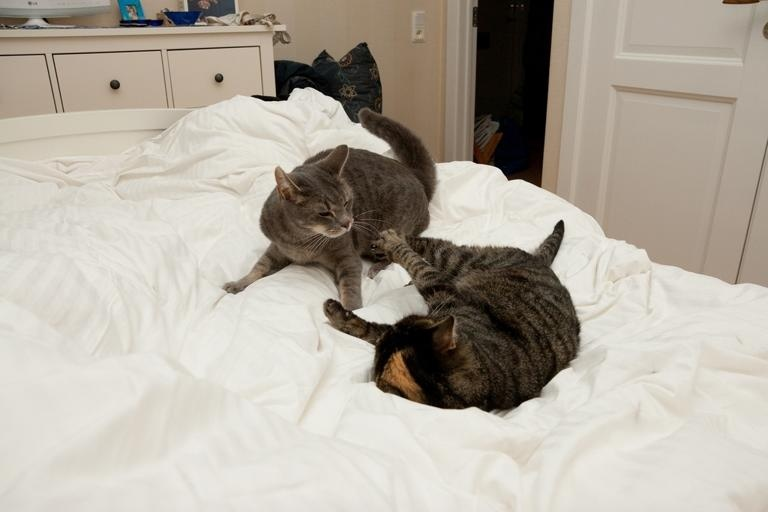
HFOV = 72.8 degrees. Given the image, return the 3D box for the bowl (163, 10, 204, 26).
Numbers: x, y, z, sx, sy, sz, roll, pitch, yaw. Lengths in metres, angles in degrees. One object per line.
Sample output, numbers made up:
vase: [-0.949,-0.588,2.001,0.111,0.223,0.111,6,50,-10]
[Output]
bowl: [-1.350,-1.599,3.506,0.162,0.061,0.150,-1,10,0]

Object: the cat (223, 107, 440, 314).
cat: [-0.136,-0.240,2.509,0.600,0.678,1.132,15,45,23]

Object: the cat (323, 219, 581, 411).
cat: [0.305,0.241,1.796,0.666,0.266,0.605,-6,40,-38]
